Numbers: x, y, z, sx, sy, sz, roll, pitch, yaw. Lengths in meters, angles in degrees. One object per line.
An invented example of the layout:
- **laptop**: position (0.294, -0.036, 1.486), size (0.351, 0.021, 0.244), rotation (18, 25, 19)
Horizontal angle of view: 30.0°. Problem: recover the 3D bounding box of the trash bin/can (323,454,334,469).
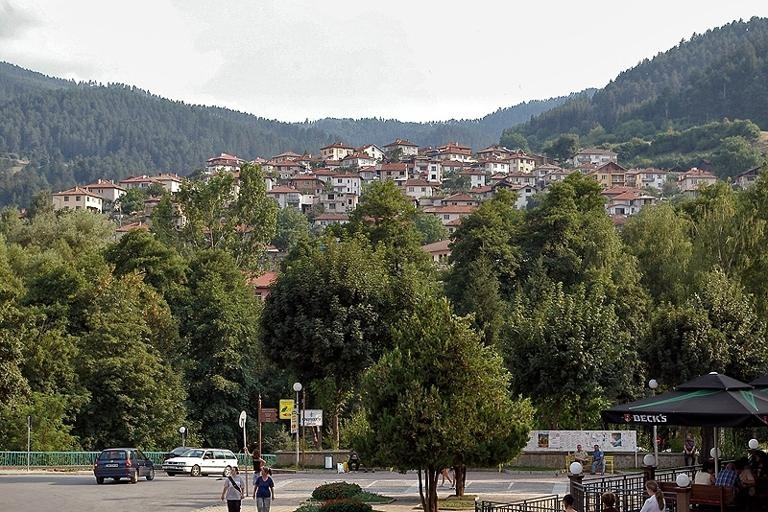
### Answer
- **trash bin/can**: position (-5.703, 20.801, 146.847), size (1.091, 1.616, 1.152), rotation (-1, -1, 2)
